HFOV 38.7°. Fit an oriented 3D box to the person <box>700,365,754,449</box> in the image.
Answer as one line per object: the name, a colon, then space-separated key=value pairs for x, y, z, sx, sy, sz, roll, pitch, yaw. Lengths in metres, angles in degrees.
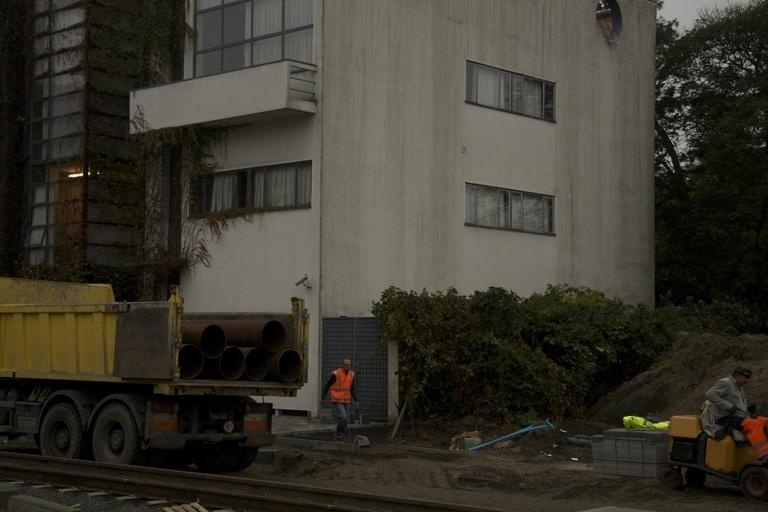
person: x=8.055 y=3.428 z=25.805 sx=1.108 sy=1.708 sz=0.554 roll=-3 pitch=-9 yaw=16
